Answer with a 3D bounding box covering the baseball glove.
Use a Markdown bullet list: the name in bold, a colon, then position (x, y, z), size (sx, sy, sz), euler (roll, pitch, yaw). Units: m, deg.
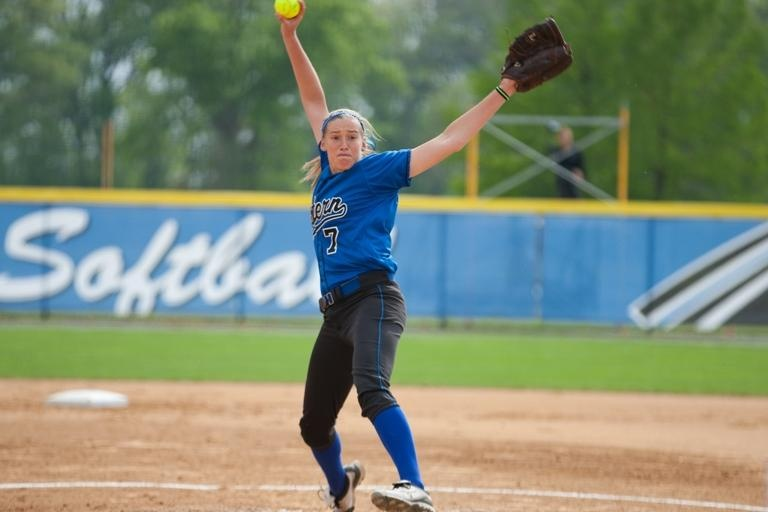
- **baseball glove**: position (1.095, -1.376, 10.589), size (0.507, 0.483, 0.232), euler (-29, -15, 5)
